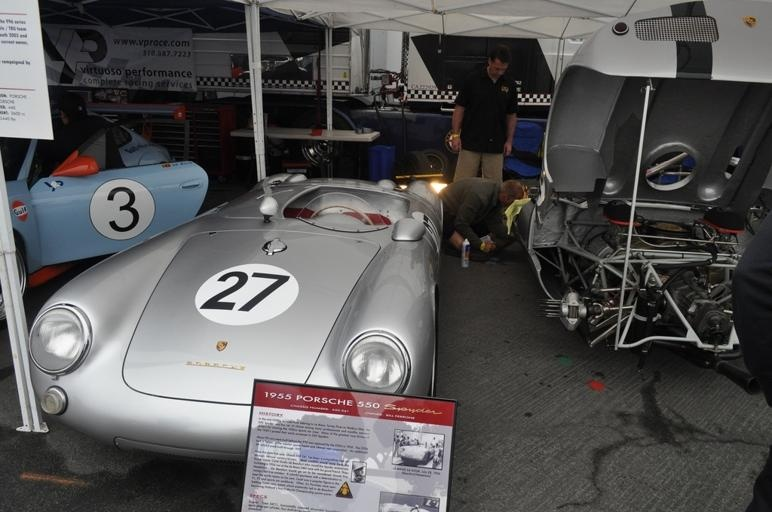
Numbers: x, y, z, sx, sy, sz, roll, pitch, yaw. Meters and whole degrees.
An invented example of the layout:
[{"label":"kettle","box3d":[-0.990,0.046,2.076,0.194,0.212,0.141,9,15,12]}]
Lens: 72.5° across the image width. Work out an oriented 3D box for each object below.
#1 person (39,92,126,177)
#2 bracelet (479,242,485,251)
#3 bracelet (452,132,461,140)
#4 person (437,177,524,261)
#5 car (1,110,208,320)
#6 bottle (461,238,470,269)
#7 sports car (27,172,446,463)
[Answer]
[{"label":"person","box3d":[-2.745,-1.085,4.821,0.686,0.761,0.305,-4,-9,-4]},{"label":"bracelet","box3d":[1.024,-0.111,5.585,0.061,0.061,0.059,-1,-9,-35]},{"label":"bracelet","box3d":[0.866,-1.495,6.503,0.091,0.100,0.104,-8,26,5]},{"label":"person","box3d":[0.970,-0.454,5.657,0.788,0.897,0.599,4,21,1]},{"label":"car","box3d":[-2.417,-0.492,4.785,1.067,0.762,1.949,22,28,38]},{"label":"bottle","box3d":[0.845,-0.057,5.551,0.104,0.286,0.237,7,21,8]},{"label":"sports car","box3d":[-0.801,0.342,3.370,1.415,0.742,2.473,11,24,10]}]
